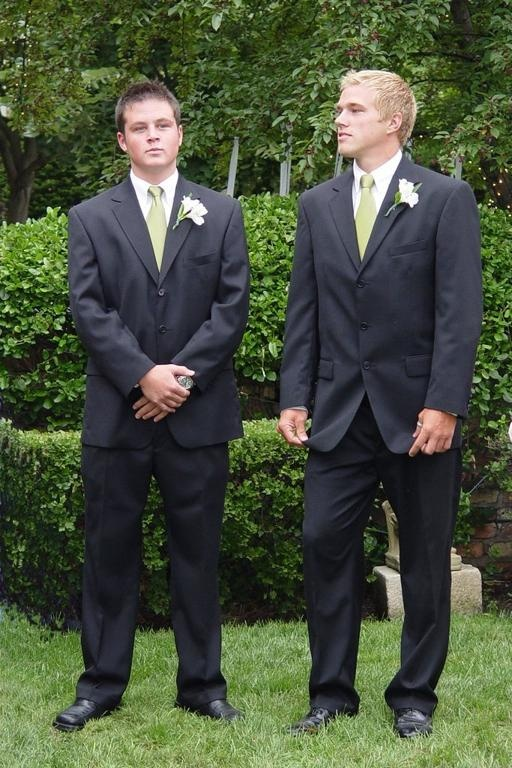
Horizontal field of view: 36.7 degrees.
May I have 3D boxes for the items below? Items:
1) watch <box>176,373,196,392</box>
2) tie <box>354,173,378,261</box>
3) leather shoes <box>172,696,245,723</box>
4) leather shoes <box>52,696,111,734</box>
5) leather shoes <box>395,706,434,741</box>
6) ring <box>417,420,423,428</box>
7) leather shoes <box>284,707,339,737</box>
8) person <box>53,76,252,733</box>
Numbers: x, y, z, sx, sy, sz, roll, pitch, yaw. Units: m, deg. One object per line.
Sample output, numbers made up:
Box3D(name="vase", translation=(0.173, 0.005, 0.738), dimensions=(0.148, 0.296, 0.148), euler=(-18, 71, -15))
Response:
Box3D(name="watch", translation=(-0.226, -0.001, 2.494), dimensions=(0.049, 0.046, 0.012), euler=(-43, -1, 40))
Box3D(name="tie", translation=(0.339, -0.530, 2.457), dimensions=(0.062, 0.280, 0.036), euler=(1, -24, 13))
Box3D(name="leather shoes", translation=(-0.167, 1.067, 2.548), dimensions=(0.207, 0.071, 0.073), euler=(-6, -14, 25))
Box3D(name="leather shoes", translation=(-0.560, 1.069, 2.495), dimensions=(0.062, 0.061, 0.156), euler=(1, -2, 39))
Box3D(name="leather shoes", translation=(0.468, 1.018, 2.321), dimensions=(0.113, 0.059, 0.128), euler=(-2, -5, 9))
Box3D(name="ring", translation=(0.494, 0.122, 2.348), dimensions=(0.016, 0.018, 0.018), euler=(6, 16, 13))
Box3D(name="leather shoes", translation=(0.174, 1.039, 2.374), dimensions=(0.155, 0.051, 0.055), euler=(-6, 14, -35))
Box3D(name="person", translation=(-0.345, 0.038, 2.584), dimensions=(0.654, 2.114, 0.303), euler=(-1, -5, -1))
